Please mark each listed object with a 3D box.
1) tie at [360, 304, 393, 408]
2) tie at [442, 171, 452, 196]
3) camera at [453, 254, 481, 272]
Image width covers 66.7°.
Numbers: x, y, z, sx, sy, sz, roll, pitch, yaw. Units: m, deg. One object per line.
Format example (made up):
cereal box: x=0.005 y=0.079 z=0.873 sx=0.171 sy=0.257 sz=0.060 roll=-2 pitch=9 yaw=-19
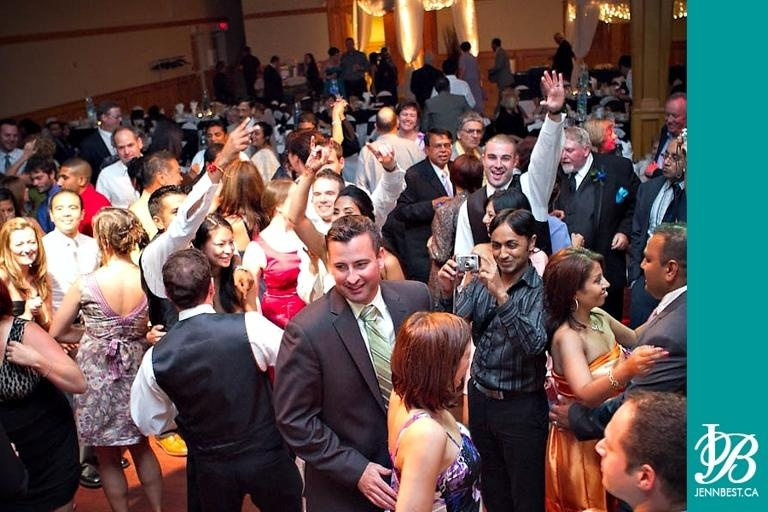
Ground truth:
tie: x=-0.015 y=0.407 z=2.449 sx=0.118 sy=0.408 sz=0.153 roll=-11 pitch=14 yaw=-18
tie: x=0.523 y=-0.607 z=4.880 sx=0.100 sy=0.167 sz=0.050 roll=-6 pitch=-11 yaw=-7
camera: x=0.419 y=0.037 z=2.920 sx=0.120 sy=0.111 sz=0.092 roll=-2 pitch=14 yaw=18
